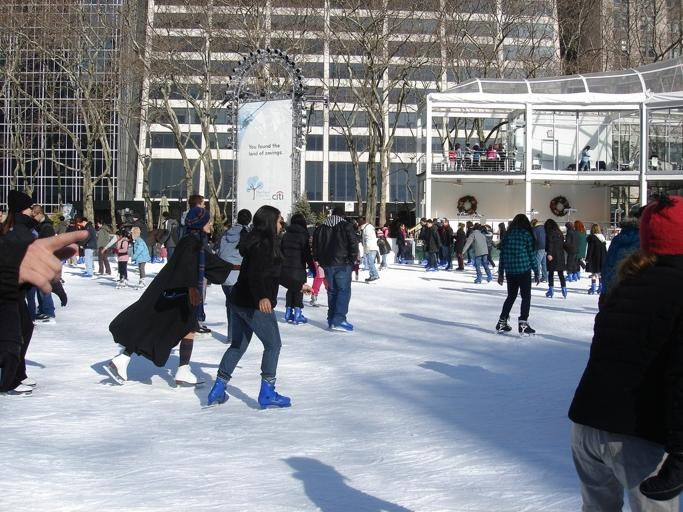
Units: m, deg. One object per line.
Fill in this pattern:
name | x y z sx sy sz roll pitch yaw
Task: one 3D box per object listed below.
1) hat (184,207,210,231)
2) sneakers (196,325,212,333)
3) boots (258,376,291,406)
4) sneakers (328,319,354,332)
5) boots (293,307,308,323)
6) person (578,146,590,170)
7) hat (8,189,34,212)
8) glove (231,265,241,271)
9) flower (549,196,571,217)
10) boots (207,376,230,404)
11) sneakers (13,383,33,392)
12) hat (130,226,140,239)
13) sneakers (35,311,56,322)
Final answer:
hat | -1.808 -0.456 10.947 0.208 0.257 0.300 16 36 28
sneakers | -2.271 1.232 14.614 0.209 0.076 0.149 9 -7 -40
boots | -0.766 1.569 10.163 0.373 0.353 0.205 0 5 -7
sneakers | 0.000 1.193 15.211 0.351 0.217 0.189 3 -3 -7
boots | -0.717 1.091 16.102 0.134 0.335 0.309 1 9 15
person | 11.708 -4.630 42.054 0.531 1.179 1.456 2 6 16
hat | -3.878 -0.652 10.580 0.264 0.273 0.322 -1 6 -24
glove | -1.479 0.168 12.307 0.087 0.084 0.100 0 2 0
flower | 11.137 -2.431 44.723 0.891 1.074 0.217 -24 9 -16
boots | -1.450 1.565 10.322 0.136 0.378 0.430 6 5 3
sneakers | -3.842 1.589 10.571 0.249 0.138 0.105 -3 3 -10
hat | -5.187 -0.545 21.895 0.280 0.357 0.239 0 2 0
sneakers | -5.258 1.084 15.612 0.323 0.179 0.156 -1 1 17
